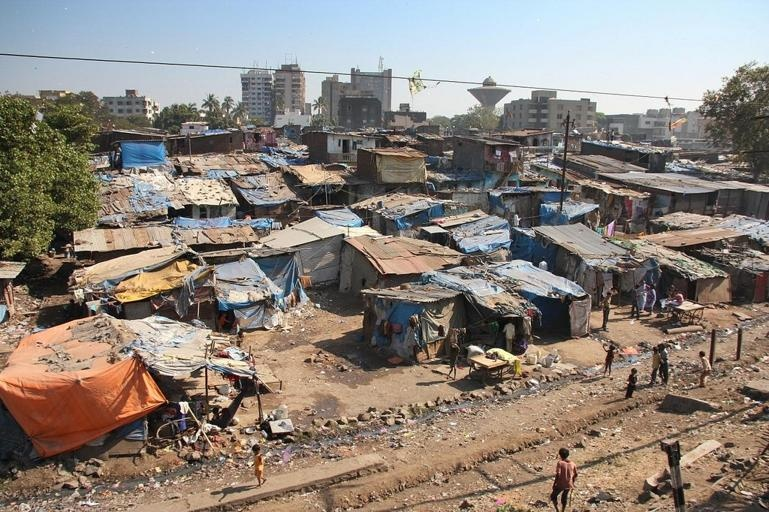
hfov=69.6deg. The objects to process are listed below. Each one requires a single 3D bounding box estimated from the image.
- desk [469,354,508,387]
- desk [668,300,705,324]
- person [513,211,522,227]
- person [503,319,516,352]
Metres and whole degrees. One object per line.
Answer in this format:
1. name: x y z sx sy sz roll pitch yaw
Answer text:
1. desk: 3.814 4.371 21.264 1.470 0.707 1.120 -2 18 -34
2. desk: 14.556 2.731 26.421 1.376 0.676 1.260 -12 22 -24
3. person: 8.646 -2.370 36.343 0.464 0.919 1.961 3 10 13
4. person: 5.119 3.343 22.841 0.445 1.305 0.593 3 11 16
